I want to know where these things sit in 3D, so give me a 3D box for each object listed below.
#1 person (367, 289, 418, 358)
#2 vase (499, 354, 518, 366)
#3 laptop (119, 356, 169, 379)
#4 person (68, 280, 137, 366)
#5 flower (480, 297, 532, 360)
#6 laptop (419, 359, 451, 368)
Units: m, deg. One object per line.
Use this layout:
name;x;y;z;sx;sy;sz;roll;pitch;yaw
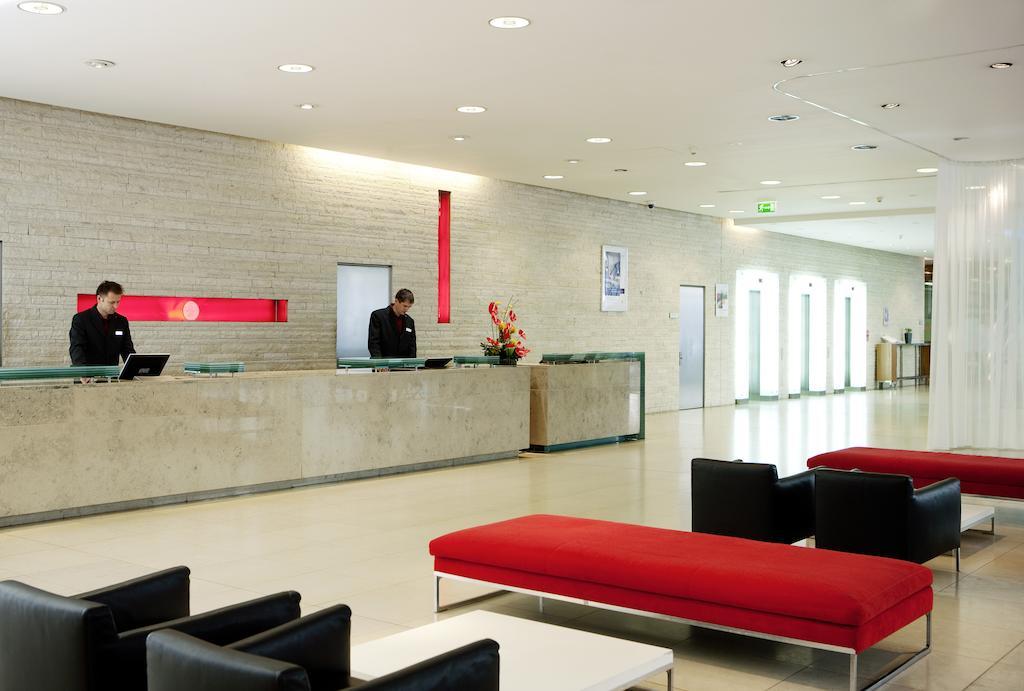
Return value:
person;-1.725;-0.331;11.252;0.656;0.956;0.638;0;3;-11
vase;-0.054;0.193;11.828;0.276;0.189;0.331;0;3;-1
laptop;-3.981;0.213;8.434;0.244;0.276;0.390;7;5;23
person;-4.739;-0.258;8.998;0.636;0.958;0.664;-1;3;-23
flower;-0.123;-0.190;12.058;0.731;0.771;0.546;0;3;-6
laptop;-1.070;0.238;10.880;0.124;0.134;0.520;2;3;34
